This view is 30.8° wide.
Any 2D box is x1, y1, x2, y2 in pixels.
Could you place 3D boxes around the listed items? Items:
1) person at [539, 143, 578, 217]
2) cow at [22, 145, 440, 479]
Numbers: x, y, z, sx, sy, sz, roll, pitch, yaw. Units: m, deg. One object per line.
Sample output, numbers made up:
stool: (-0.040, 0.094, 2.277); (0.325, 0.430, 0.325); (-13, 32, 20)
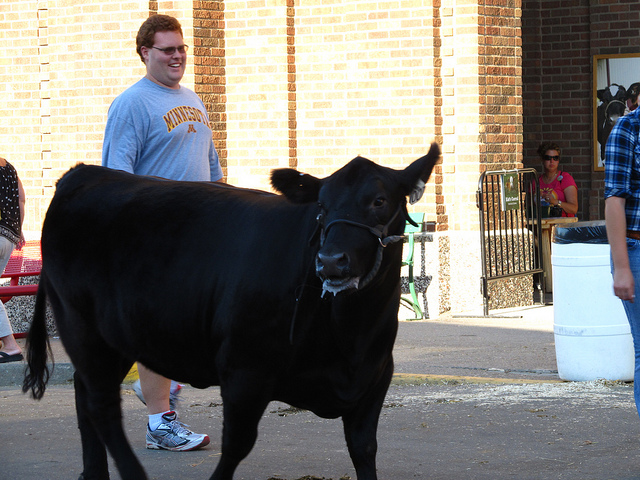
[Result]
person: (3.234, -0.828, 15.901); (0.486, 0.979, 0.572); (0, 7, 11)
cow: (-0.528, 0.517, 7.328); (2.392, 2.145, 0.737); (3, 8, 30)
